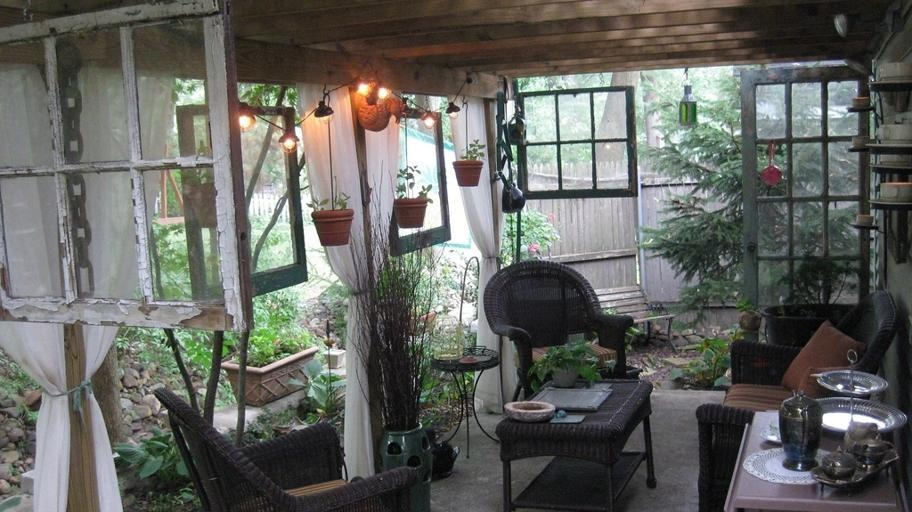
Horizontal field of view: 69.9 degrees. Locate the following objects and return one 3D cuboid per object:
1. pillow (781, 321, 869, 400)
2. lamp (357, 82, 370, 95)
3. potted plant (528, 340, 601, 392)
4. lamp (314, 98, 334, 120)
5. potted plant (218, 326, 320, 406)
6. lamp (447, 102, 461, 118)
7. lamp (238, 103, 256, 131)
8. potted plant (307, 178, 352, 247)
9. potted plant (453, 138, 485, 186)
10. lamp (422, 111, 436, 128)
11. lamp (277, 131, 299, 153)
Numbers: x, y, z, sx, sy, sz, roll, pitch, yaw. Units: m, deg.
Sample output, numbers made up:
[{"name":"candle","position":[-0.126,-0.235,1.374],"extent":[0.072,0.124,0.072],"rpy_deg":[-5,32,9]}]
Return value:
[{"name":"pillow","position":[2.907,0.866,5.163],"extent":[0.513,0.552,0.682],"rpy_deg":[-3,9,8]},{"name":"lamp","position":[-0.764,-1.399,5.426],"extent":[0.114,0.059,0.110],"rpy_deg":[1,3,2]},{"name":"potted plant","position":[0.948,0.923,5.628],"extent":[0.485,0.234,0.454],"rpy_deg":[-2,-1,-11]},{"name":"lamp","position":[-1.058,-1.174,5.207],"extent":[0.158,0.100,0.152],"rpy_deg":[-2,3,-14]},{"name":"potted plant","position":[-2.137,1.263,7.654],"extent":[0.787,0.455,1.115],"rpy_deg":[0,0,17]},{"name":"lamp","position":[-0.045,-1.481,6.590],"extent":[0.146,0.121,0.145],"rpy_deg":[-1,5,32]},{"name":"lamp","position":[-1.656,-1.115,5.177],"extent":[0.115,0.201,0.216],"rpy_deg":[-7,9,-14]},{"name":"potted plant","position":[-1.004,-0.357,5.263],"extent":[0.337,0.564,0.337],"rpy_deg":[-7,9,-12]},{"name":"potted plant","position":[0.149,-0.967,6.773],"extent":[0.279,0.493,0.436],"rpy_deg":[-3,9,12]},{"name":"lamp","position":[-0.289,-1.326,6.312],"extent":[0.131,0.162,0.132],"rpy_deg":[8,12,40]},{"name":"lamp","position":[-1.398,-0.966,5.468],"extent":[0.143,0.173,0.183],"rpy_deg":[-12,11,-39]}]
